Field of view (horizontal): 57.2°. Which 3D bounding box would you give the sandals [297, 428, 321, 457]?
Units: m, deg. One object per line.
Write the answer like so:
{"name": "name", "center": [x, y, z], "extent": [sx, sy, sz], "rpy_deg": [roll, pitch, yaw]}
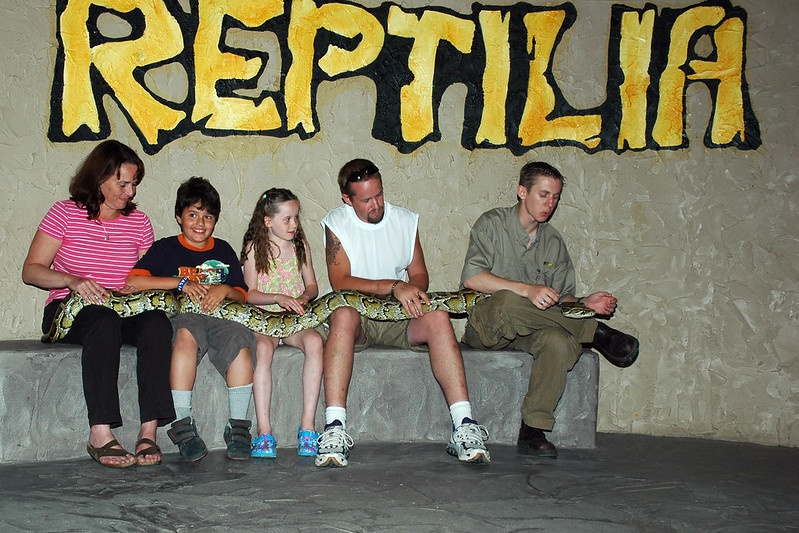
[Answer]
{"name": "sandals", "center": [-0.752, 1.470, 6.055], "extent": [0.120, 0.116, 0.278], "rpy_deg": [1, 4, -2]}

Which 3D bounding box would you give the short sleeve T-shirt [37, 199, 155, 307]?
{"name": "short sleeve T-shirt", "center": [-2.607, -0.100, 6.306], "extent": [0.809, 0.729, 0.438], "rpy_deg": [12, 3, -25]}

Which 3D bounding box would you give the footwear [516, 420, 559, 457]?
{"name": "footwear", "center": [1.171, 1.473, 6.373], "extent": [0.162, 0.292, 0.425], "rpy_deg": [-7, 5, -34]}

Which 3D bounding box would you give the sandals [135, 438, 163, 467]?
{"name": "sandals", "center": [-1.948, 1.443, 5.711], "extent": [0.186, 0.183, 0.151], "rpy_deg": [0, 6, -16]}

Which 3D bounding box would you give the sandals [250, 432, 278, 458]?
{"name": "sandals", "center": [-1.104, 1.477, 6.024], "extent": [0.208, 0.185, 0.202], "rpy_deg": [1, 6, -9]}

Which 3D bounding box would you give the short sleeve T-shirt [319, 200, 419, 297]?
{"name": "short sleeve T-shirt", "center": [-0.241, -0.280, 7.022], "extent": [1.214, 1.111, 0.616], "rpy_deg": [-4, 13, -11]}

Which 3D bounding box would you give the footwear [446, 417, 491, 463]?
{"name": "footwear", "center": [0.570, 1.454, 6.097], "extent": [0.213, 0.222, 0.465], "rpy_deg": [4, -6, -15]}

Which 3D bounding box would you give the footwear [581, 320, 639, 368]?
{"name": "footwear", "center": [2.008, 0.727, 6.970], "extent": [0.280, 0.256, 0.694], "rpy_deg": [-27, 22, -25]}

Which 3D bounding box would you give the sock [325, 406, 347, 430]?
{"name": "sock", "center": [-0.511, 1.222, 5.883], "extent": [0.157, 0.125, 0.157], "rpy_deg": [0, -9, 15]}

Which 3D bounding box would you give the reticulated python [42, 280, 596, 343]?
{"name": "reticulated python", "center": [-0.791, 0.396, 6.302], "extent": [3.595, 0.290, 0.503], "rpy_deg": [0, 18, -5]}

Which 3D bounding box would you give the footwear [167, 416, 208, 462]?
{"name": "footwear", "center": [-1.684, 1.385, 5.859], "extent": [0.292, 0.344, 0.204], "rpy_deg": [0, 7, -18]}

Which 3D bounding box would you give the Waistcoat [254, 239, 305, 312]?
{"name": "Waistcoat", "center": [-1.051, 0.101, 6.806], "extent": [0.607, 0.807, 0.450], "rpy_deg": [2, -14, -9]}

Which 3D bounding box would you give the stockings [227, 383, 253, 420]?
{"name": "stockings", "center": [-1.363, 1.117, 6.031], "extent": [0.246, 0.329, 0.271], "rpy_deg": [1, -19, -17]}

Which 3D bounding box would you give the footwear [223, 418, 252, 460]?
{"name": "footwear", "center": [-1.314, 1.401, 5.981], "extent": [0.223, 0.307, 0.222], "rpy_deg": [1, 6, -9]}

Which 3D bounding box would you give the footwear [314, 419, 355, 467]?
{"name": "footwear", "center": [-0.528, 1.452, 6.017], "extent": [0.302, 0.324, 0.769], "rpy_deg": [4, -5, -4]}

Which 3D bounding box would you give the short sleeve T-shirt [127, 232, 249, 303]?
{"name": "short sleeve T-shirt", "center": [-1.868, 0.039, 6.457], "extent": [1.128, 0.389, 0.625], "rpy_deg": [4, 30, -18]}

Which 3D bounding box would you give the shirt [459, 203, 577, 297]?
{"name": "shirt", "center": [1.146, -0.140, 6.939], "extent": [0.793, 0.648, 0.422], "rpy_deg": [16, 2, -9]}
